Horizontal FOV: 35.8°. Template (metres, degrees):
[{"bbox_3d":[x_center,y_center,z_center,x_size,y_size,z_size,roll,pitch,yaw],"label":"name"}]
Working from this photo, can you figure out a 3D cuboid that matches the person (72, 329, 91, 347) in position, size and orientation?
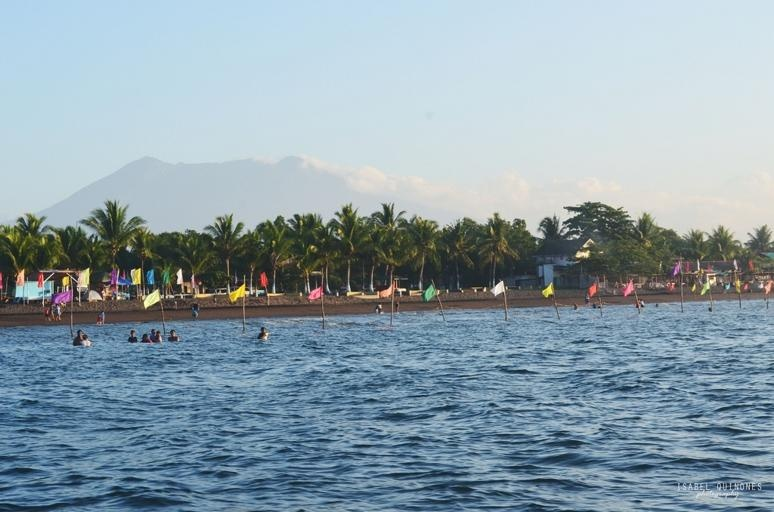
[{"bbox_3d":[-25.635,7.062,100.839,1.420,1.134,1.877,0,-1,-29],"label":"person"}]

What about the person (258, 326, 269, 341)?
[{"bbox_3d":[-11.150,7.143,108.159,0.922,1.543,0.555,3,4,34],"label":"person"}]
